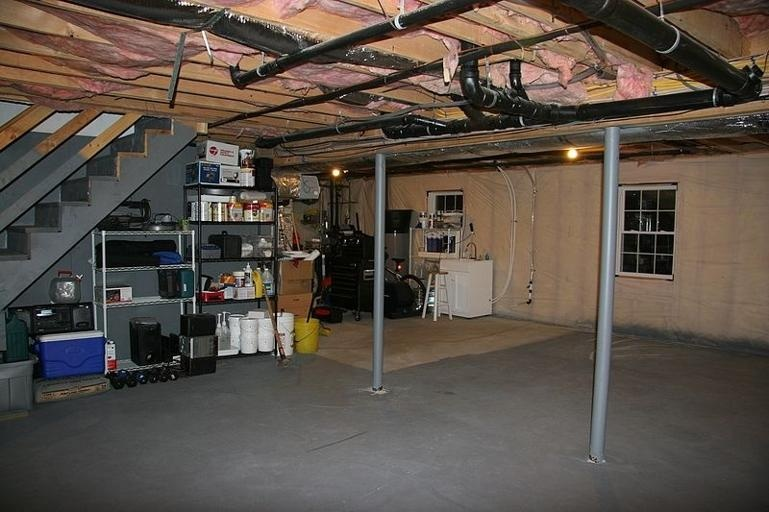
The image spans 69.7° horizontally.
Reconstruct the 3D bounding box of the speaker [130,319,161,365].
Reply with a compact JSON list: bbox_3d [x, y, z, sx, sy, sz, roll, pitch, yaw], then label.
[{"bbox_3d":[-3.237,1.140,7.511,0.390,0.592,0.440,-4,13,-24],"label":"speaker"}]

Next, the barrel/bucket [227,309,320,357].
[{"bbox_3d":[-1.811,1.116,8.335,0.920,0.411,0.869,0,-2,0],"label":"barrel/bucket"}]

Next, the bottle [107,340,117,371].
[{"bbox_3d":[-3.548,1.296,7.146,0.125,0.384,0.289,-4,13,-23],"label":"bottle"}]

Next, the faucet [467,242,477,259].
[{"bbox_3d":[1.923,-0.158,12.191,0.142,0.344,0.324,-6,14,-31],"label":"faucet"}]

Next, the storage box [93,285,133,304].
[{"bbox_3d":[-3.645,0.476,7.412,0.404,0.159,0.299,0,1,-39],"label":"storage box"}]

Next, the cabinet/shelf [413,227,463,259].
[{"bbox_3d":[1.141,-0.306,12.519,0.507,0.748,1.395,-9,14,-39],"label":"cabinet/shelf"}]

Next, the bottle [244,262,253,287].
[{"bbox_3d":[-2.075,0.296,8.416,0.120,0.290,0.211,-1,12,-12],"label":"bottle"}]

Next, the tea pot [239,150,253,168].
[{"bbox_3d":[-2.082,-1.513,8.431,0.241,0.279,0.210,-3,13,-20],"label":"tea pot"}]

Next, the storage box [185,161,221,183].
[{"bbox_3d":[-2.642,-1.253,8.104,0.283,0.255,0.487,3,1,36],"label":"storage box"}]

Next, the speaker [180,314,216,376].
[{"bbox_3d":[-2.536,1.206,7.539,0.479,0.822,0.353,-2,14,-17],"label":"speaker"}]

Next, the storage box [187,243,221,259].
[{"bbox_3d":[-2.615,-0.071,8.159,0.302,0.148,0.392,0,2,-37],"label":"storage box"}]

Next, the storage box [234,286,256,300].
[{"bbox_3d":[-2.109,0.557,8.329,0.227,0.209,0.386,0,0,41],"label":"storage box"}]

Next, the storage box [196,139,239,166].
[{"bbox_3d":[-2.459,-1.541,8.213,0.516,0.244,0.493,-2,9,-41],"label":"storage box"}]

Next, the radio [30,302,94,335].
[{"bbox_3d":[-4.053,0.798,7.171,0.877,0.387,0.399,-5,-3,3],"label":"radio"}]

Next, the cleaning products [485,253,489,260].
[{"bbox_3d":[2.220,-0.017,11.922,0.090,0.124,0.131,0,11,-7],"label":"cleaning products"}]

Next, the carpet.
[{"bbox_3d":[0.811,1.426,9.794,4.477,0.248,2.677,-6,12,-37],"label":"carpet"}]
